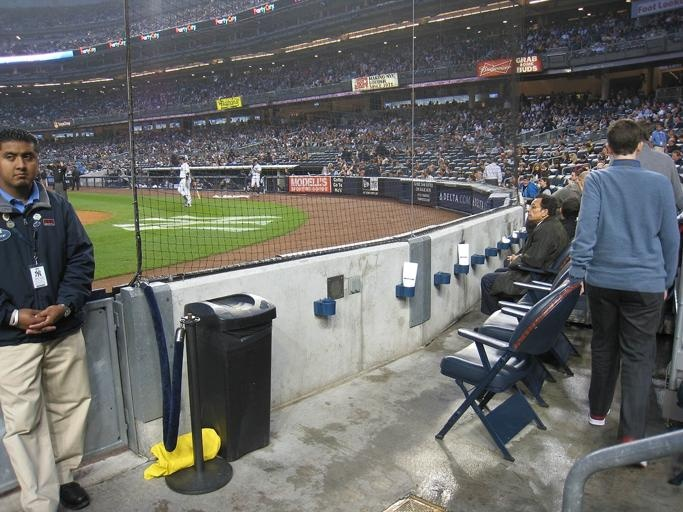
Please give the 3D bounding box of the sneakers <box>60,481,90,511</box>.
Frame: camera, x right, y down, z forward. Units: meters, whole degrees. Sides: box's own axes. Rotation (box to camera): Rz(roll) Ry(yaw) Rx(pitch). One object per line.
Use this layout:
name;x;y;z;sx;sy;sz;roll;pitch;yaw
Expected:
sneakers;-1.812;1.631;3.749;0.263;0.116;0.101;1;2;36

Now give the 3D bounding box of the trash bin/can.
trash bin/can;-0.791;0.834;4.237;0.537;0.910;0.581;8;13;22

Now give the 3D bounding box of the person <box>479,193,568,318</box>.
person;2.079;0.077;6.391;0.845;1.602;0.636;9;13;29

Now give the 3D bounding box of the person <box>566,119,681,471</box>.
person;2.119;0.213;4.177;0.616;2.438;0.605;-13;14;-40
